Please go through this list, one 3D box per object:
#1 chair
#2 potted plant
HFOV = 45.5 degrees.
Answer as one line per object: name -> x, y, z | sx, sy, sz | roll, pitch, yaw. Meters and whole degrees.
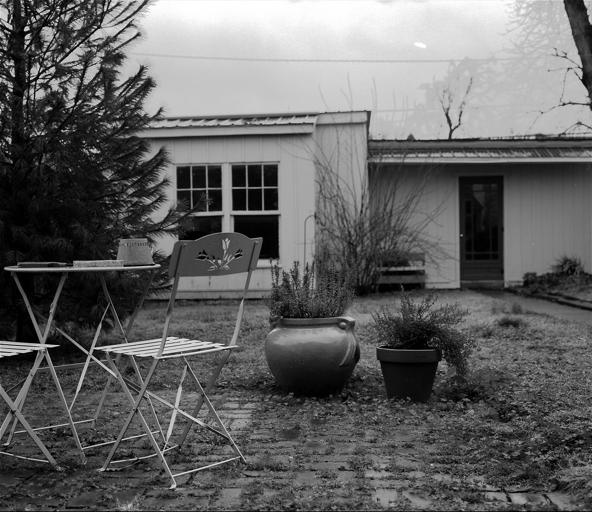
chair -> -1.175, 0.581, 4.845 | 1.993, 1.761, 1.101 | -1, -3, 37
potted plant -> 0.571, 0.649, 5.714 | 1.276, 0.898, 1.111 | 7, -10, -32
